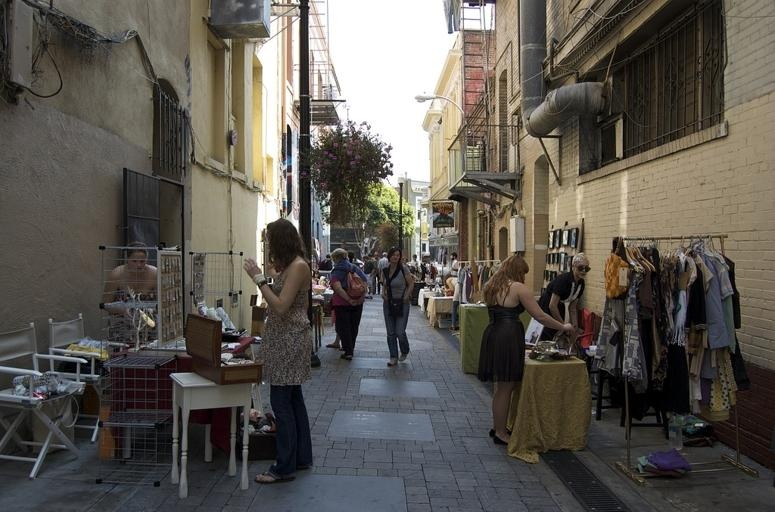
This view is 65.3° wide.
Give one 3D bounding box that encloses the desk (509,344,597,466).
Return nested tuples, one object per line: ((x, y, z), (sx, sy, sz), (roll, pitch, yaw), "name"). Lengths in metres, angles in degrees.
((2.103, 1.963, 7.935), (1.107, 1.161, 0.400), (-1, 6, -25), "desk")

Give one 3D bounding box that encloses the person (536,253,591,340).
((2.943, 0.622, 10.253), (0.773, 1.895, 1.310), (0, -1, -1), "person")

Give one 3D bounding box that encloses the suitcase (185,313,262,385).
((-1.958, 1.052, 7.116), (0.618, 0.743, 1.008), (-1, 1, -34), "suitcase")

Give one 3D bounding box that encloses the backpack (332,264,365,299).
((-0.794, 0.546, 12.122), (0.537, 0.584, 0.317), (-1, -21, -47), "backpack")

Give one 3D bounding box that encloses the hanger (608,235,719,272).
((3.506, -0.005, 7.624), (1.144, 0.480, 0.363), (-3, 5, 15), "hanger")

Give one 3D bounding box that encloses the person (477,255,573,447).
((1.866, 1.282, 8.315), (1.137, 2.543, 1.083), (5, -6, -25), "person")

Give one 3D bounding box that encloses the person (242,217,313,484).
((-1.304, 1.105, 7.252), (0.741, 3.022, 0.909), (0, 0, 10), "person")

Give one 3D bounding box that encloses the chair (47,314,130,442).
((-3.960, 1.528, 7.868), (0.966, 1.706, 1.111), (0, -1, 1), "chair")

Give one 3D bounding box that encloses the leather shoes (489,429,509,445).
((1.495, 2.423, 8.160), (0.263, 0.119, 0.101), (8, 2, 21), "leather shoes")
